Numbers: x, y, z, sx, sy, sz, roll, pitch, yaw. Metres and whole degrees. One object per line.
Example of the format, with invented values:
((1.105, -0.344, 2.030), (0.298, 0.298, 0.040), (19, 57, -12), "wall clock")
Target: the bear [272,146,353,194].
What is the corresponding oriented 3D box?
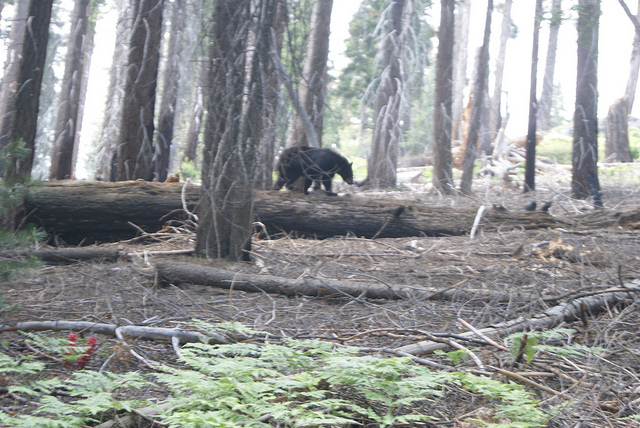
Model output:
((-0.345, -0.928, 15.294), (2.767, 0.873, 0.794), (-2, -1, -39), "bear")
